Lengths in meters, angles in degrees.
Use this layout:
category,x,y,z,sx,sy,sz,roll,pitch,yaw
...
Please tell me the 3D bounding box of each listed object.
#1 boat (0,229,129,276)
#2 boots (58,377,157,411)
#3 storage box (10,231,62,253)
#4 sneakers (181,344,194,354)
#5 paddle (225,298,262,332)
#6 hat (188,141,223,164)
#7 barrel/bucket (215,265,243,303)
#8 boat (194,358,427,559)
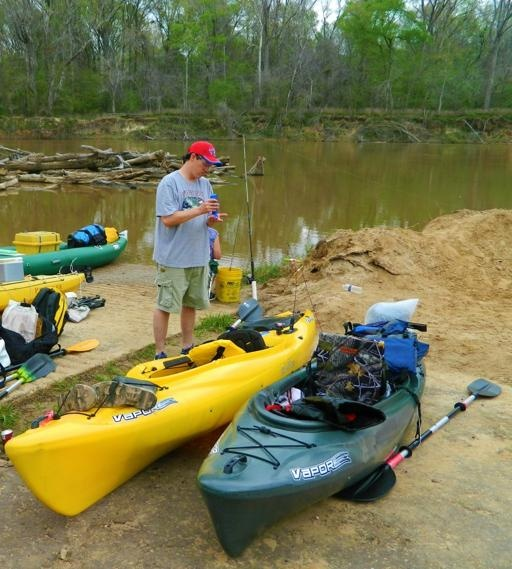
category,x,y,z,sx,sy,sz,roll,pitch,yaw
boat,-2.420,-0.469,8.008,0.582,0.264,1.686,11,15,26
boots,-0.869,0.653,3.498,0.541,0.143,0.213,0,4,-23
storage box,-2.821,-0.540,7.755,0.469,0.222,0.593,13,16,40
sneakers,-0.581,0.547,5.065,0.069,0.066,0.174,-6,3,8
paddle,-0.104,0.308,5.548,0.161,0.097,0.410,29,50,21
hat,-0.428,-1.081,4.942,0.266,0.193,0.384,1,13,-7
barrel/bucket,-0.354,0.016,7.353,0.457,0.399,0.432,1,8,0
boat,0.365,0.922,3.553,0.560,0.399,1.533,14,23,34
